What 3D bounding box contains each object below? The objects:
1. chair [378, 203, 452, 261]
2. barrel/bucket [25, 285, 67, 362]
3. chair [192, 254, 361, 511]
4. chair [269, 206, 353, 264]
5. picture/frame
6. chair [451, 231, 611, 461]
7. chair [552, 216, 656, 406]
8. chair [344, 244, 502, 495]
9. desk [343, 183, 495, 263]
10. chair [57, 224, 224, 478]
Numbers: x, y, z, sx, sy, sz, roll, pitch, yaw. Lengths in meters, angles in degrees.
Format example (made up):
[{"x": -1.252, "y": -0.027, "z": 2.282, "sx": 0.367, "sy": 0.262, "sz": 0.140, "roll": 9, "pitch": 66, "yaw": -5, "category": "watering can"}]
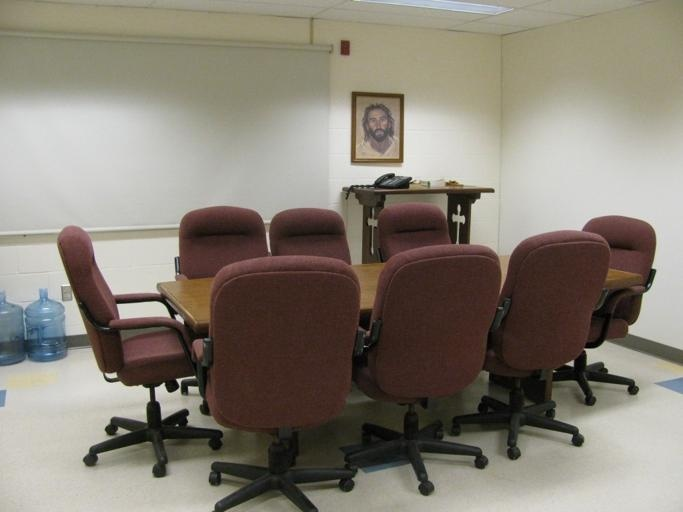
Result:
[{"x": 0.527, "y": -0.239, "z": 4.464, "sx": 0.431, "sy": 0.625, "sz": 0.497, "roll": -4, "pitch": 5, "yaw": -14, "category": "chair"}, {"x": -2.579, "y": 0.573, "z": 4.817, "sx": 0.317, "sy": 0.627, "sz": 0.314, "roll": 1, "pitch": 8, "yaw": 0, "category": "barrel/bucket"}, {"x": -0.300, "y": 0.637, "z": 2.704, "sx": 0.773, "sy": 1.395, "sz": 0.378, "roll": -4, "pitch": 19, "yaw": -12, "category": "chair"}, {"x": -0.250, "y": -0.154, "z": 4.286, "sx": 0.436, "sy": 0.646, "sz": 0.486, "roll": -1, "pitch": 1, "yaw": -14, "category": "chair"}, {"x": 0.338, "y": -1.335, "z": 5.567, "sx": 0.638, "sy": 0.853, "sz": 0.055, "roll": -2, "pitch": 7, "yaw": -25, "category": "picture/frame"}, {"x": 1.118, "y": 0.481, "z": 3.440, "sx": 0.756, "sy": 1.378, "sz": 0.830, "roll": 1, "pitch": 10, "yaw": -4, "category": "chair"}, {"x": 1.822, "y": 0.360, "z": 4.114, "sx": 0.751, "sy": 1.305, "sz": 0.703, "roll": -6, "pitch": 12, "yaw": -32, "category": "chair"}, {"x": 0.422, "y": 0.557, "z": 3.114, "sx": 0.795, "sy": 1.325, "sz": 0.762, "roll": -6, "pitch": 12, "yaw": -34, "category": "chair"}, {"x": 0.691, "y": -0.088, "z": 5.330, "sx": 1.315, "sy": 0.977, "sz": 0.730, "roll": -4, "pitch": 13, "yaw": -21, "category": "desk"}, {"x": -1.217, "y": 0.535, "z": 3.316, "sx": 0.821, "sy": 1.418, "sz": 0.731, "roll": -3, "pitch": 10, "yaw": -34, "category": "chair"}]
